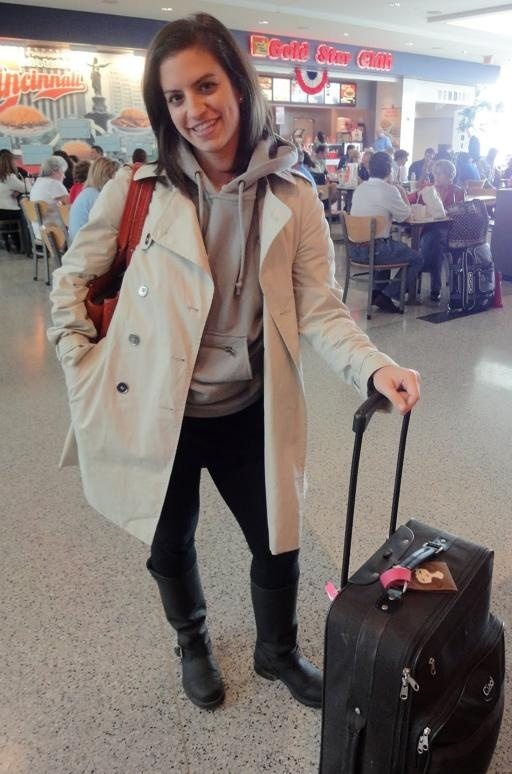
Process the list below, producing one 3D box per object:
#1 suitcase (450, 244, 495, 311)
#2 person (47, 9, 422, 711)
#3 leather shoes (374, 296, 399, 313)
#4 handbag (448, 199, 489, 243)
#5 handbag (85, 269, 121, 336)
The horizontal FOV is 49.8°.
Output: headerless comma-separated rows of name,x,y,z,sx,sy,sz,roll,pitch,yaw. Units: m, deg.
suitcase,1.895,-0.948,4.802,0.416,0.560,0.373,5,23,13
person,-0.067,0.073,1.107,0.725,1.407,0.358,6,23,17
leather shoes,1.170,-0.733,4.970,0.215,0.089,0.145,18,-10,-19
handbag,1.812,-1.415,4.754,0.273,0.405,0.415,-6,28,20
handbag,-0.300,-0.160,1.065,0.051,0.099,0.091,13,35,5
